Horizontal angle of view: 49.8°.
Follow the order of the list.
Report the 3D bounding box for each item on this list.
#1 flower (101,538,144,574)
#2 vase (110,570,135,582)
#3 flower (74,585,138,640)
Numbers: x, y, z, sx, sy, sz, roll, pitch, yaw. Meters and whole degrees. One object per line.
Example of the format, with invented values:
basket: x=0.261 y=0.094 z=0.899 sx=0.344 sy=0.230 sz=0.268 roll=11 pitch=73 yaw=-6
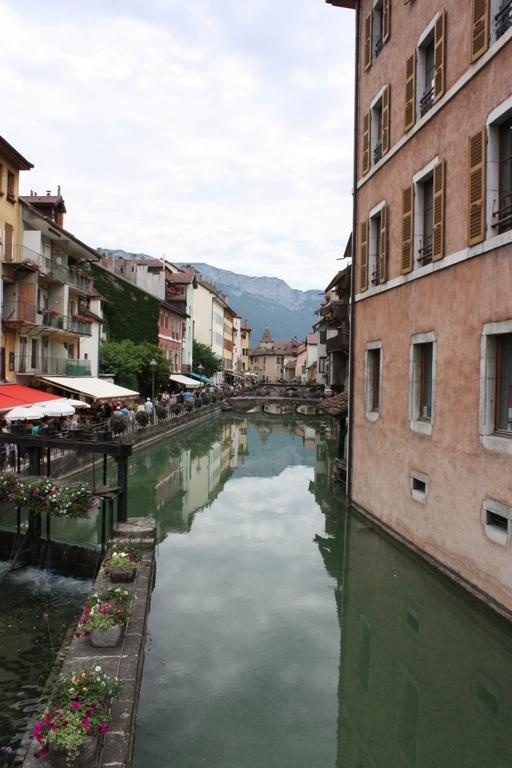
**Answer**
flower: x=-1.893 y=2.448 z=7.836 sx=0.333 sy=0.326 sz=0.561 roll=2 pitch=5 yaw=-3
vase: x=-1.817 y=2.550 z=7.394 sx=0.336 sy=0.174 sz=0.218 roll=1 pitch=-1 yaw=-5
flower: x=-1.568 y=2.308 z=5.684 sx=0.360 sy=0.304 sz=0.603 roll=1 pitch=5 yaw=-8
